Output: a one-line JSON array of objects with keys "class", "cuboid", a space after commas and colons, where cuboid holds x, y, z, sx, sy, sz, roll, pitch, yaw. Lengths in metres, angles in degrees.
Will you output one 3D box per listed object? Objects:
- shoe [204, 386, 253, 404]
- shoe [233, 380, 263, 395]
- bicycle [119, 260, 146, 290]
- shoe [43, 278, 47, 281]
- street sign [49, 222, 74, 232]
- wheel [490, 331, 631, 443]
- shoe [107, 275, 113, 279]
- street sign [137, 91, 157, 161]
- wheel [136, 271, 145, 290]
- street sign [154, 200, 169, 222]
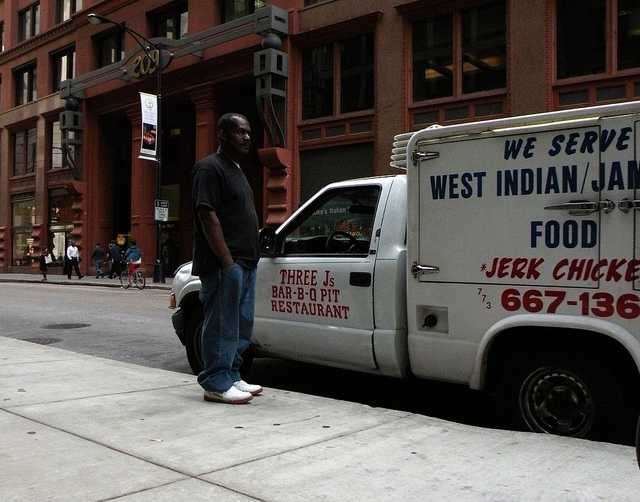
[{"class": "shoe", "cuboid": [-0.797, 1.198, 5.243, 0.334, 0.151, 0.154, -1, -3, -1]}, {"class": "shoe", "cuboid": [-0.636, 1.205, 5.456, 0.256, 0.106, 0.103, 3, -6, -12]}, {"class": "bicycle", "cuboid": [-7.077, 0.898, 23.381, 0.756, 0.943, 1.515, 2, -11, -42]}, {"class": "shoe", "cuboid": [-12.671, 1.284, 28.589, 0.108, 0.093, 0.179, 0, 1, -40]}, {"class": "street sign", "cuboid": [-13.650, -1.279, 32.646, 0.165, 0.513, 2.742, 1, 0, -44]}, {"class": "wheel", "cuboid": [1.829, 1.027, 4.617, 0.760, 0.794, 0.269, -3, -5, 32]}, {"class": "shoe", "cuboid": [-9.378, 1.159, 27.730, 0.161, 0.149, 0.584, 1, 0, -19]}, {"class": "street sign", "cuboid": [-6.685, -4.888, 24.183, 0.521, 2.536, 1.026, 1, 0, 21]}, {"class": "wheel", "cuboid": [-6.354, 1.013, 22.025, 0.261, 0.626, 0.509, 1, 0, -30]}, {"class": "street sign", "cuboid": [-6.087, -1.589, 23.796, 0.387, 0.796, 1.018, 1, 0, -9]}]
